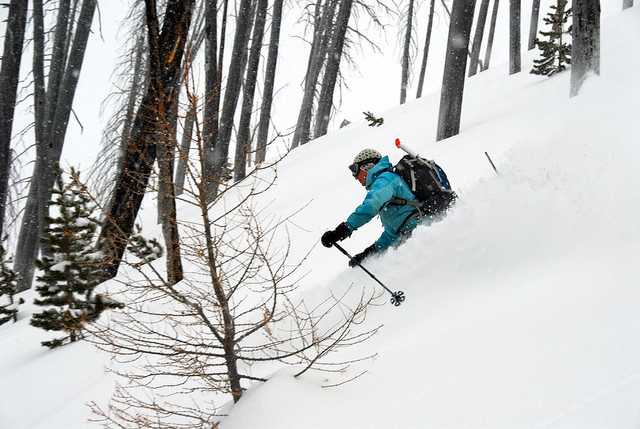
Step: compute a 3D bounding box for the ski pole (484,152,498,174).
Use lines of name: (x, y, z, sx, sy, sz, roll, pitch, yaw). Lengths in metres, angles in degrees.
ski pole: (3.059, -0.923, 11.300, 0.091, 0.524, 0.076, -34, -1, 31)

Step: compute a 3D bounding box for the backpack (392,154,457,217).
backpack: (1.698, -0.508, 10.261, 0.784, 1.056, 0.415, -44, 0, -1)

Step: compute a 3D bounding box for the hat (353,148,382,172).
hat: (0.774, -0.917, 10.429, 0.319, 0.354, 0.412, -4, 27, -41)
